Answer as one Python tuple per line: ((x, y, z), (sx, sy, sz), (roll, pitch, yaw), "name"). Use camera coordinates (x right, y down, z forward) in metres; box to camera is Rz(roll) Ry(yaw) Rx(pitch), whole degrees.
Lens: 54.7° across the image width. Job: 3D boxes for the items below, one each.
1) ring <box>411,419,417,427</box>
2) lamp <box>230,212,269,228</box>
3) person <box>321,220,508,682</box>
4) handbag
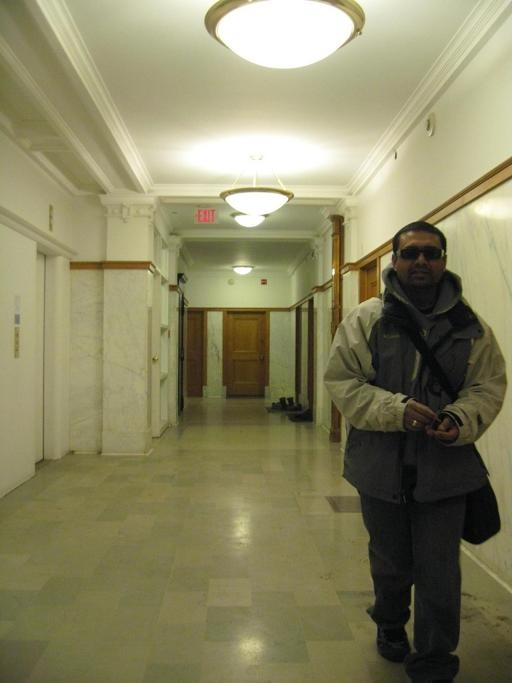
((0.486, 0.250, 1.525), (0.012, 0.018, 0.016), (-1, 6, 10), "ring")
((-0.115, -1.530, 6.210), (0.393, 0.152, 0.412), (1, 4, 5), "lamp")
((0.549, 0.382, 1.758), (0.455, 1.623, 0.523), (2, -2, -39), "person")
((0.748, 0.569, 1.656), (0.110, 0.227, 0.072), (-1, -2, 30), "handbag")
